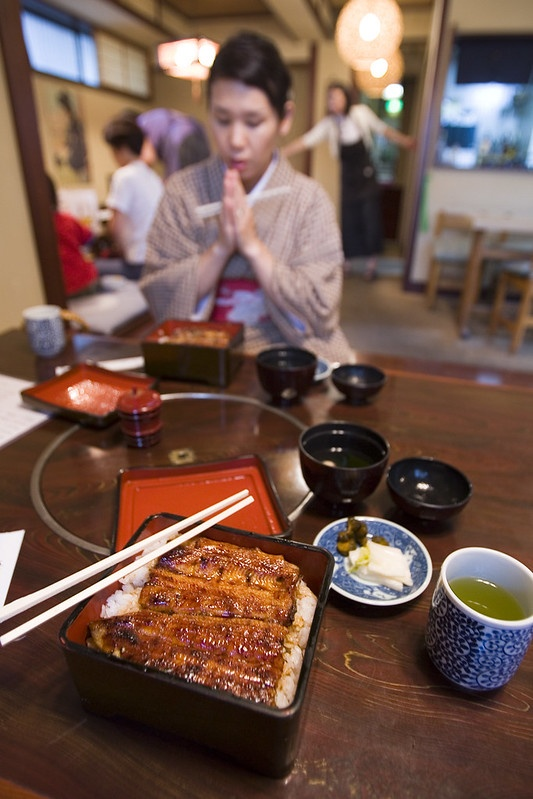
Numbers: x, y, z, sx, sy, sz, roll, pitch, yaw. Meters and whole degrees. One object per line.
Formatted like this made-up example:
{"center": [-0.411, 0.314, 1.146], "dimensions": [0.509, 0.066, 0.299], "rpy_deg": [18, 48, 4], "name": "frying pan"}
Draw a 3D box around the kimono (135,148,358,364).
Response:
{"center": [-0.001, -0.552, 2.265], "dimensions": [0.486, 0.735, 0.919], "rpy_deg": [6, 16, 14], "name": "kimono"}
